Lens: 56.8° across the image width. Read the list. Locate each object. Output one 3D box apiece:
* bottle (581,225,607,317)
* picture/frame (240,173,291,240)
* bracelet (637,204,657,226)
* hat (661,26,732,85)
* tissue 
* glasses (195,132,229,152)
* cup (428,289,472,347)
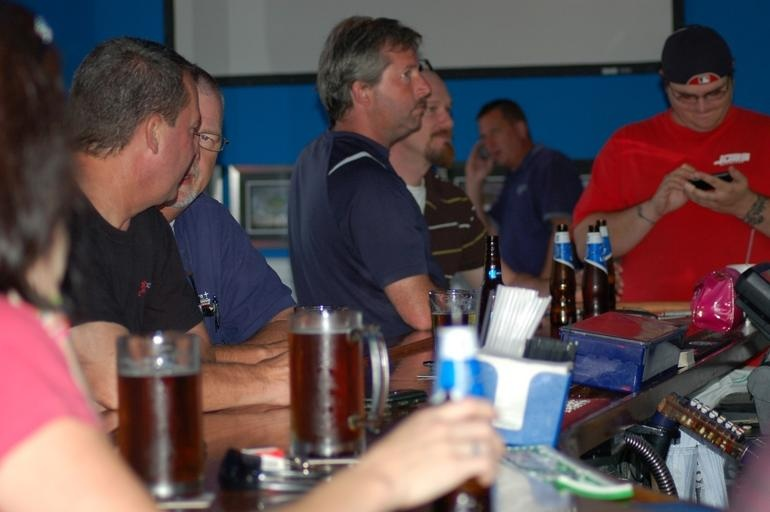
[{"bbox_3d":[0.727,0.057,2.447,0.087,0.319,0.070,3,10,16],"label":"bottle"},{"bbox_3d":[-0.773,-0.304,4.306,0.221,0.408,0.426,10,10,42],"label":"picture/frame"},{"bbox_3d":[1.306,-0.209,3.583,0.099,0.027,0.084,17,-17,18],"label":"bracelet"},{"bbox_3d":[1.436,-0.954,3.313,0.245,0.175,0.336,-7,35,7],"label":"hat"},{"bbox_3d":[0.253,0.189,1.312,0.193,0.273,0.091,4,1,9],"label":"tissue "},{"bbox_3d":[-0.658,-0.423,2.651,0.105,0.038,0.106,9,7,31],"label":"glasses"},{"bbox_3d":[0.171,0.156,1.870,0.120,0.185,0.120,0,3,0],"label":"cup"}]
